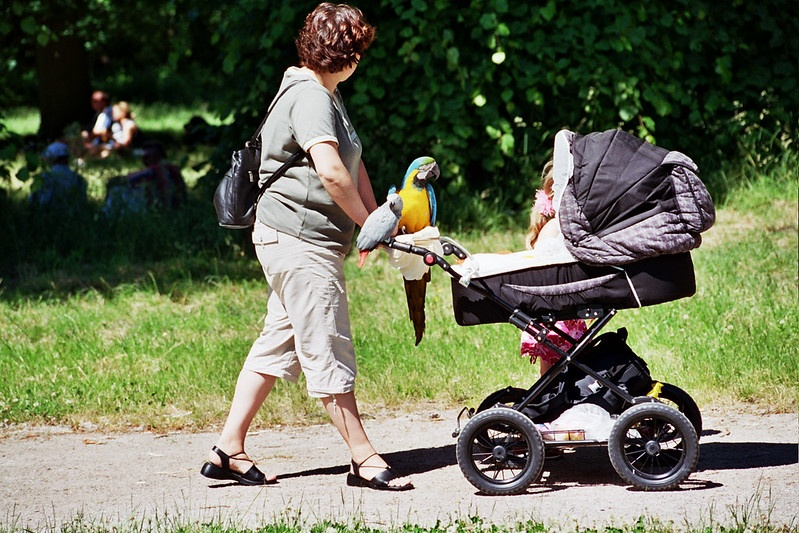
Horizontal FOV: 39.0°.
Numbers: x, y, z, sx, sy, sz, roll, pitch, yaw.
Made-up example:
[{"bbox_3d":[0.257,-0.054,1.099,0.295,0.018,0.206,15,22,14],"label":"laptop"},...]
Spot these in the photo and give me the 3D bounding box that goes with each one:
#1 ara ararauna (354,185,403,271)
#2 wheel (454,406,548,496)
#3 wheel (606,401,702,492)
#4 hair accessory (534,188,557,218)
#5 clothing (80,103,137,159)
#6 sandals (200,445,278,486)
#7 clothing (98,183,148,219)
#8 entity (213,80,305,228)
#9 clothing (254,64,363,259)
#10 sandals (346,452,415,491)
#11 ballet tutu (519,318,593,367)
[{"bbox_3d":[-0.153,-0.288,8.830,0.426,0.562,0.321,-3,7,-21],"label":"ara ararauna"},{"bbox_3d":[0.828,1.476,9.001,0.583,0.706,0.146,-1,-1,2],"label":"wheel"},{"bbox_3d":[2.014,1.417,8.946,0.604,0.732,0.136,-1,-2,7],"label":"wheel"},{"bbox_3d":[1.202,-0.531,9.364,0.082,0.213,0.176,-11,0,-22],"label":"hair accessory"},{"bbox_3d":[-3.961,-1.806,15.442,0.657,0.897,0.272,-13,-20,12],"label":"clothing"},{"bbox_3d":[-1.320,1.634,9.358,0.629,0.350,0.242,8,-1,-14],"label":"sandals"},{"bbox_3d":[-3.189,-0.781,13.145,0.343,0.438,0.186,-22,17,-11],"label":"clothing"},{"bbox_3d":[-1.142,-0.851,9.315,0.650,1.282,0.510,5,-8,9],"label":"entity"},{"bbox_3d":[-0.670,-0.953,9.179,0.646,1.400,1.258,5,18,1],"label":"clothing"},{"bbox_3d":[-0.170,1.644,9.104,0.562,0.291,0.251,0,0,24],"label":"sandals"},{"bbox_3d":[1.314,0.607,9.544,0.498,0.159,0.361,-40,47,-2],"label":"ballet tutu"}]
